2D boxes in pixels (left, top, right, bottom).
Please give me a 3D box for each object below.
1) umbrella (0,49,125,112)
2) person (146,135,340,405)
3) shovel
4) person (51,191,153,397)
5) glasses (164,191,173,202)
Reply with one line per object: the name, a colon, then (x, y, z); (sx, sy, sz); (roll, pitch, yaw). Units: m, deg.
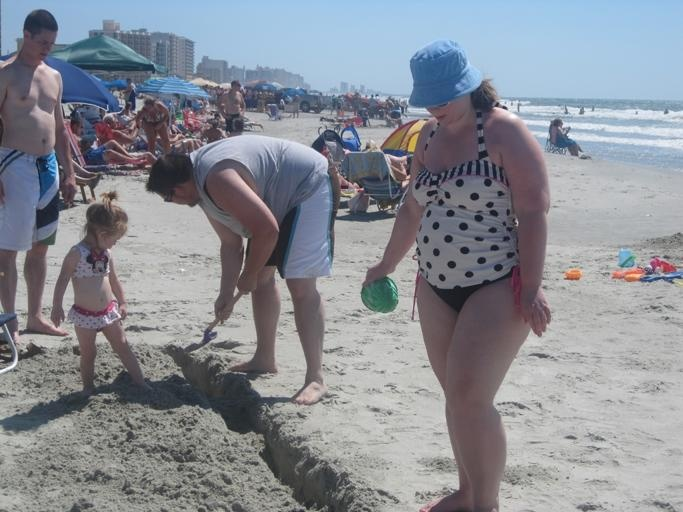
umbrella: (-4.311, -2.768, 14.926); (2.195, 0.786, 2.275); (4, 0, 4)
person: (-0.624, 0.082, 6.079); (1.133, 1.799, 0.817); (4, 9, 1)
shovel: (-1.034, 0.551, 7.024); (0.136, 0.564, 0.118); (44, 23, 28)
person: (-1.692, 0.246, 6.114); (0.671, 1.382, 0.365); (1, 9, -16)
glasses: (-1.164, -0.399, 5.846); (0.036, 0.044, 0.103); (2, 9, -16)
